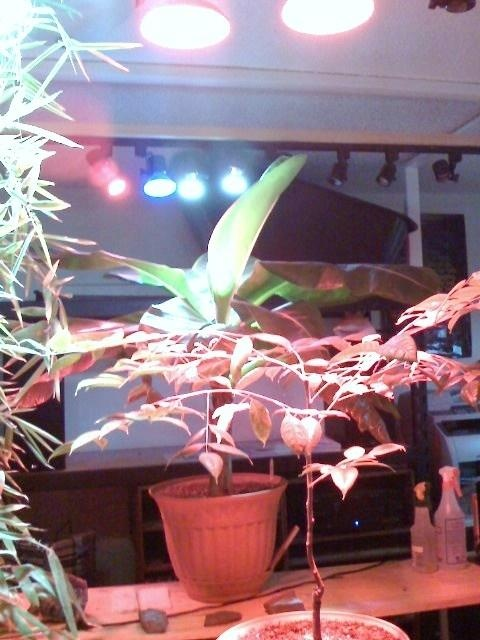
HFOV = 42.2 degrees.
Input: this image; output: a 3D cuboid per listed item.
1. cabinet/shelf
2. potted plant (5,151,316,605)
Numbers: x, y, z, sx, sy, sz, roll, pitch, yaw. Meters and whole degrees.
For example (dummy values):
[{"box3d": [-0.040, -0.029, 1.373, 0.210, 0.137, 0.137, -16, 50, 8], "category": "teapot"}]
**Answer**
[{"box3d": [0.135, 0.826, 2.533, 1.192, 0.377, 0.330, -2, -21, -13], "category": "cabinet/shelf"}, {"box3d": [-0.042, 0.052, 1.008, 0.549, 0.354, 0.508, -7, -2, -7], "category": "potted plant"}]
